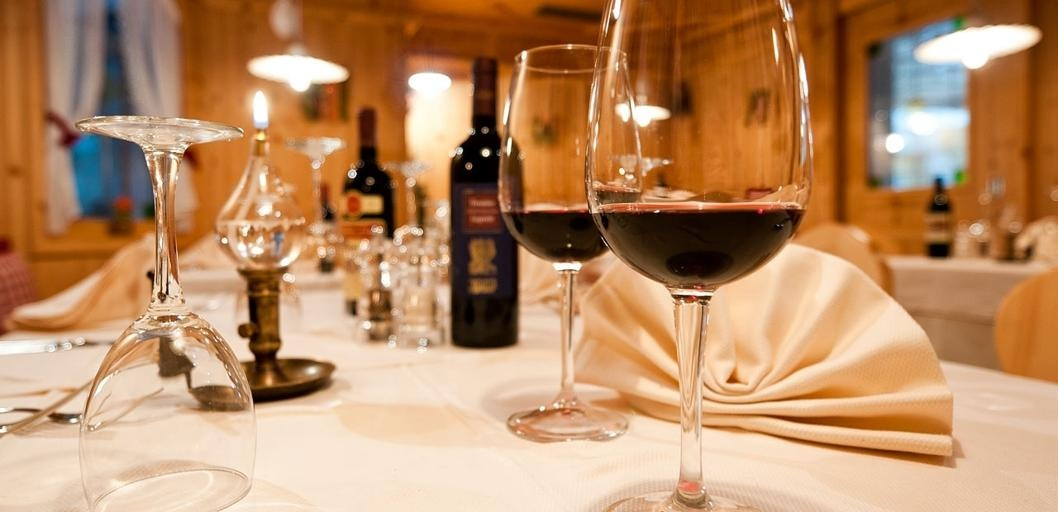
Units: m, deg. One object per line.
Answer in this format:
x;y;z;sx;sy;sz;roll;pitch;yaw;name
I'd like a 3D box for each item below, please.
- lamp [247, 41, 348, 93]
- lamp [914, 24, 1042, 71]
-1.264;-0.998;4.326;0.420;0.222;0.525;-7;8;-42;lamp
2.817;-1.309;5.135;0.675;0.191;0.593;4;3;-8;lamp
